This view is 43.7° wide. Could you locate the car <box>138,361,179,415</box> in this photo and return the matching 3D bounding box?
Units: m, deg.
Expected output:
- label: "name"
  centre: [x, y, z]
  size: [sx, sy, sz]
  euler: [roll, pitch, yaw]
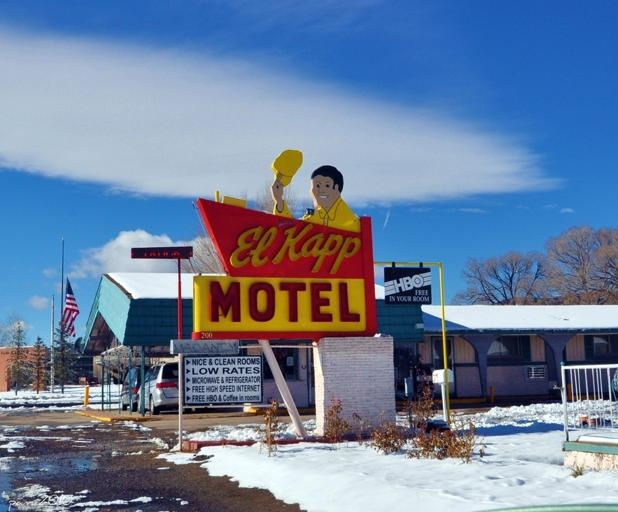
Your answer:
- label: "car"
  centre: [-5.463, 4.792, 28.304]
  size: [1.401, 1.666, 3.313]
  euler: [-5, -4, -29]
